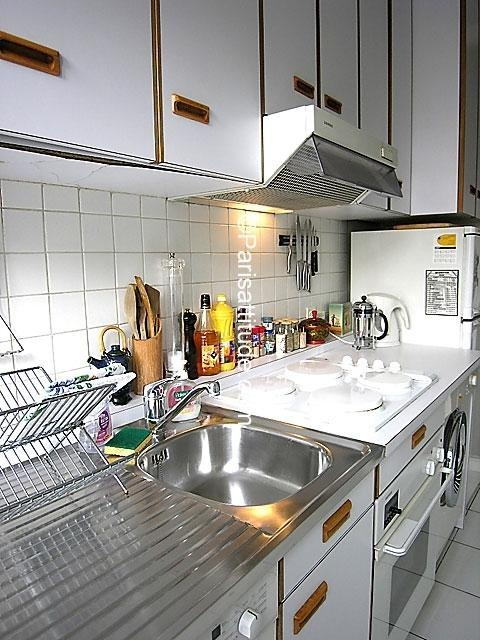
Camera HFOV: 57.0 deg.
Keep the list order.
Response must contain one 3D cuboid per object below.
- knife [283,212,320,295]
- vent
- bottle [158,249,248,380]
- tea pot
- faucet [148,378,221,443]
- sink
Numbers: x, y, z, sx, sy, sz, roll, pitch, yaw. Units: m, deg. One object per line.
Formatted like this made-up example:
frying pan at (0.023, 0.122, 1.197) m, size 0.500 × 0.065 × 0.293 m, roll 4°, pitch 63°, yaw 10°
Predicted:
knife at (0.320, -0.321, 2.212) m, size 0.078 × 0.372 × 0.389 m, roll 4°, pitch 9°, yaw 27°
vent at (0.239, -0.537, 1.573) m, size 0.437 × 0.193 × 0.844 m, roll -3°, pitch 9°, yaw 29°
bottle at (-0.127, -0.020, 1.566) m, size 0.187 × 0.470 × 0.182 m, roll -1°, pitch 7°, yaw 0°
tea pot at (-0.379, 0.094, 1.299) m, size 0.142 × 0.283 × 0.132 m, roll 6°, pitch 13°, yaw -1°
faucet at (-0.126, 0.189, 1.139) m, size 0.187 × 0.155 × 0.141 m, roll 15°, pitch 16°, yaw 43°
sink at (-0.062, 0.376, 1.109) m, size 0.255 × 0.093 × 0.271 m, roll 9°, pitch 11°, yaw 38°
